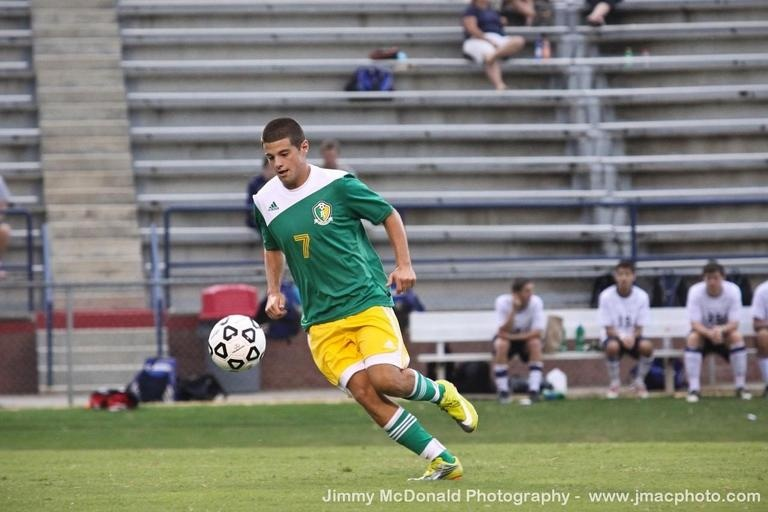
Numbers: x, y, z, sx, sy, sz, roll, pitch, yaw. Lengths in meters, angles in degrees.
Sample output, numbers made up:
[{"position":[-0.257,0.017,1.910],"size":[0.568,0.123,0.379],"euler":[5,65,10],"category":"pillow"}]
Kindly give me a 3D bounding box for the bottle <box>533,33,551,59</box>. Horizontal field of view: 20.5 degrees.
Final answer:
[{"position":[2.172,-2.829,29.037],"size":[0.220,0.288,0.108],"euler":[1,16,6],"category":"bottle"}]

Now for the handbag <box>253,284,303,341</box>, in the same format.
[{"position":[-1.323,0.755,28.378],"size":[0.602,0.786,0.284],"euler":[-4,9,8],"category":"handbag"}]

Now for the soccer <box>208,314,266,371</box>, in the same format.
[{"position":[-1.690,1.036,24.791],"size":[0.661,0.629,0.625],"euler":[-14,42,-8],"category":"soccer"}]

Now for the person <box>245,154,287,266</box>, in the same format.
[{"position":[-1.534,-0.684,28.639],"size":[0.380,1.092,0.815],"euler":[9,25,31],"category":"person"}]

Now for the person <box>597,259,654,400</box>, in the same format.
[{"position":[3.015,0.912,26.539],"size":[0.644,1.718,0.391],"euler":[-3,-4,6],"category":"person"}]

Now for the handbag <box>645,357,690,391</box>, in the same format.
[{"position":[3.485,1.481,26.496],"size":[0.682,0.572,0.359],"euler":[0,-3,11],"category":"handbag"}]

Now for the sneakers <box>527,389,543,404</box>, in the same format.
[{"position":[1.901,1.758,26.677],"size":[0.175,0.181,0.114],"euler":[3,-1,-3],"category":"sneakers"}]

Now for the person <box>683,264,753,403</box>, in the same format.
[{"position":[4.095,0.931,26.325],"size":[0.790,1.714,0.342],"euler":[-4,-4,9],"category":"person"}]

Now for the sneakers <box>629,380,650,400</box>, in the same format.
[{"position":[3.177,1.662,26.320],"size":[0.149,0.218,0.087],"euler":[-15,-34,-15],"category":"sneakers"}]

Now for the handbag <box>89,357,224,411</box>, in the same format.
[{"position":[-2.972,1.674,27.751],"size":[1.809,0.617,0.605],"euler":[3,-7,-34],"category":"handbag"}]

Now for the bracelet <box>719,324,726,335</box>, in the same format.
[{"position":[4.181,0.911,26.238],"size":[0.099,0.091,0.084],"euler":[-8,1,8],"category":"bracelet"}]

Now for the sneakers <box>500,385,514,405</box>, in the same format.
[{"position":[1.569,1.770,26.970],"size":[0.133,0.187,0.194],"euler":[0,-14,4],"category":"sneakers"}]

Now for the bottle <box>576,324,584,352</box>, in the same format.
[{"position":[2.464,1.023,26.704],"size":[0.121,0.324,0.128],"euler":[-3,-4,0],"category":"bottle"}]

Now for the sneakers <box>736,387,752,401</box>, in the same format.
[{"position":[4.434,1.684,26.195],"size":[0.183,0.152,0.065],"euler":[-3,-4,4],"category":"sneakers"}]

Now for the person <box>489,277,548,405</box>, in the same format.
[{"position":[1.726,1.073,26.969],"size":[0.373,1.572,0.748],"euler":[1,-6,-45],"category":"person"}]
